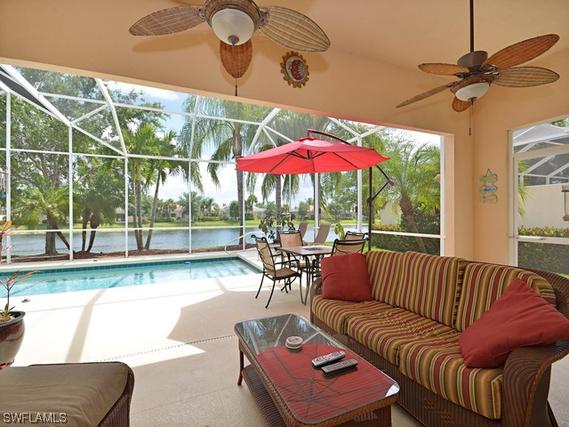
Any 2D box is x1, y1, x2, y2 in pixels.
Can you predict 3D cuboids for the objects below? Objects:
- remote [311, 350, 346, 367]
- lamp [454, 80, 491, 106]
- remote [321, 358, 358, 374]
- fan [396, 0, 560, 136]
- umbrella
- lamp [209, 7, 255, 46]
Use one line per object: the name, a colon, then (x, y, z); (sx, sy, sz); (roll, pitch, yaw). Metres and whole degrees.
remote: (0.390, 1.292, 3.549); (0.275, 0.050, 0.116); (-7, 6, -17)
lamp: (1.921, -1.234, 4.083); (0.197, 0.109, 0.202); (-1, -4, 5)
remote: (0.480, 1.348, 3.462); (0.380, 0.059, 0.115); (-5, 9, -21)
fan: (2.106, -1.204, 4.432); (1.400, 1.478, 1.440); (1, 4, 15)
umbrella: (0.303, -0.545, 5.784); (1.950, 1.771, 2.163); (0, 2, -45)
lamp: (-0.469, -1.661, 3.510); (0.401, 0.248, 0.168); (-1, 6, -6)
